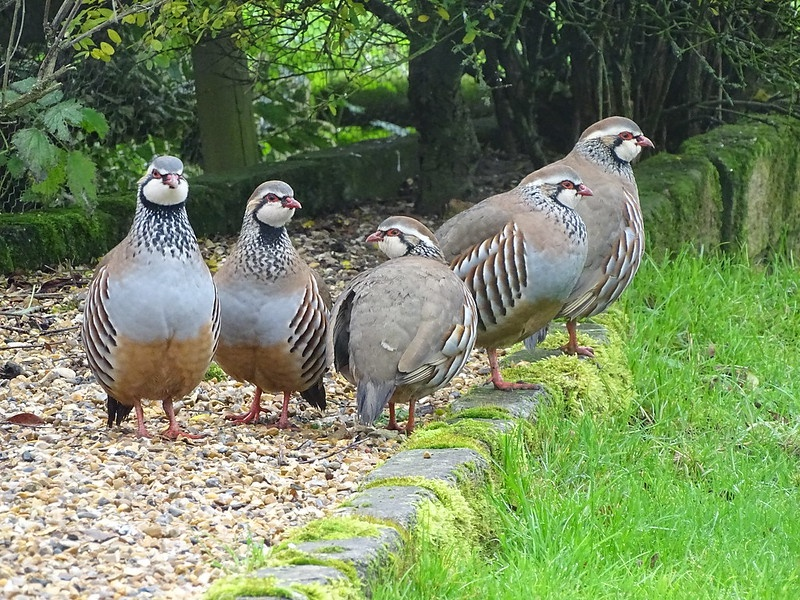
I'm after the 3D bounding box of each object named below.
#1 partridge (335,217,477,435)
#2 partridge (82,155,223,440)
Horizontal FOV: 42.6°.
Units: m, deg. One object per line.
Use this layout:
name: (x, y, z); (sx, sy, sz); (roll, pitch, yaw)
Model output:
partridge: (0.039, 0.105, 5.096); (0.742, 0.991, 1.190); (3, 11, 2)
partridge: (-1.148, 0.004, 4.711); (0.594, 1.296, 0.294); (-1, 12, -12)
